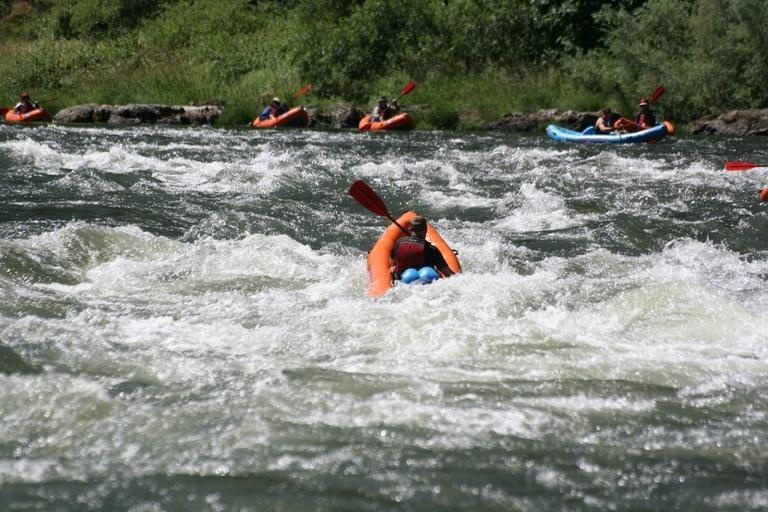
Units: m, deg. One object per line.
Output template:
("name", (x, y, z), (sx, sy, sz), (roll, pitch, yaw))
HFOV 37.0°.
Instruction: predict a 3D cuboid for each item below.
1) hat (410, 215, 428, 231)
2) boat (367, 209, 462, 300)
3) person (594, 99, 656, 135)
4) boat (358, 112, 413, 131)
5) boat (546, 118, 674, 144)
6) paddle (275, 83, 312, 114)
("hat", (0.767, -0.729, 24.391), (0.307, 0.304, 0.321), (4, 30, 6))
("boat", (0.167, 0.000, 24.814), (1.314, 0.488, 2.419), (4, 39, 4))
("person", (7.094, -4.087, 33.609), (1.957, 0.766, 1.088), (1, 4, 1))
("boat", (0.039, -4.233, 36.530), (1.648, 0.581, 0.760), (6, 27, 33))
("boat", (6.461, -3.499, 33.215), (2.586, 0.438, 1.354), (0, 4, 20))
("paddle", (-2.855, -5.609, 39.324), (0.139, 0.457, 2.196), (-15, -1, -42))
